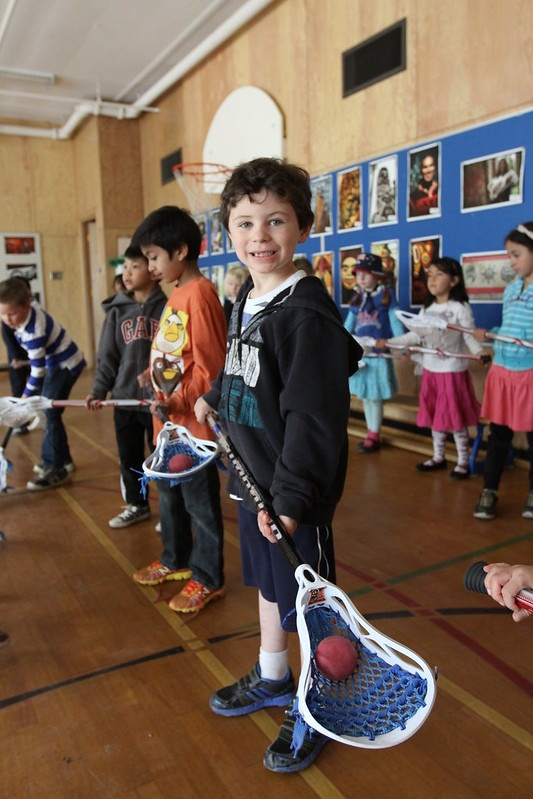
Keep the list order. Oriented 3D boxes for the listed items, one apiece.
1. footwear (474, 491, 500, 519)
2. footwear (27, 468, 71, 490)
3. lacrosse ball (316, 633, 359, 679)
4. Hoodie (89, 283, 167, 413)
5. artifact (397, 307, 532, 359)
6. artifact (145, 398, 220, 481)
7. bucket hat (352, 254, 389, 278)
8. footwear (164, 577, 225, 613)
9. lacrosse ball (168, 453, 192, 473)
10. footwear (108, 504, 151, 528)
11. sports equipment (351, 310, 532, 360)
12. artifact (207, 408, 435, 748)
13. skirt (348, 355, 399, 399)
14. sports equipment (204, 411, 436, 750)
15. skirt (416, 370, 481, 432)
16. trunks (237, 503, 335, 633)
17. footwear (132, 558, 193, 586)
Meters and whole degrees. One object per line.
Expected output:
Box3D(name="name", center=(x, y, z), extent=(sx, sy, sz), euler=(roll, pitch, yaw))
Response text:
Box3D(name="footwear", center=(0.993, 0.465, 2.768), extent=(0.090, 0.120, 0.178), euler=(1, 10, 24))
Box3D(name="footwear", center=(-1.251, 0.464, 3.550), extent=(0.272, 0.120, 0.093), euler=(-3, 9, -38))
Box3D(name="lacrosse ball", center=(0.110, 0.407, 0.958), extent=(0.066, 0.076, 0.065), euler=(-2, 9, 0))
Box3D(name="Hoodie", center=(-0.606, -0.225, 2.613), extent=(0.337, 0.508, 0.138), euler=(17, 15, 35))
Box3D(name="artifact", center=(1.033, -0.345, 3.190), extent=(0.993, 0.141, 0.133), euler=(20, -5, 45))
Box3D(name="artifact", center=(-0.261, 0.140, 1.769), extent=(0.174, 0.083, 0.229), euler=(-13, 27, -16))
Box3D(name="bucket hat", center=(0.657, -0.831, 3.869), extent=(0.178, 0.089, 0.135), euler=(17, -1, -25))
Box3D(name="footwear", center=(-0.240, 0.651, 2.056), extent=(0.170, 0.080, 0.076), euler=(-3, 6, -44))
Box3D(name="lacrosse ball", center=(-0.248, 0.188, 1.744), extent=(0.071, 0.052, 0.121), euler=(-4, 9, -9))
Box3D(name="footwear", center=(-0.641, 0.551, 2.888), extent=(0.232, 0.100, 0.076), euler=(-7, 13, -38))
Box3D(name="sports equipment", center=(0.962, -0.346, 3.270), extent=(1.200, 0.135, 0.351), euler=(11, 6, 31))
Box3D(name="artifact", center=(0.103, 0.323, 1.043), extent=(0.210, 0.326, 0.426), euler=(-4, 9, -11))
Box3D(name="skirt", center=(0.635, -0.128, 4.064), extent=(0.412, 0.391, 0.324), euler=(1, 5, 2))
Box3D(name="sports equipment", center=(0.051, 0.343, 1.077), extent=(0.176, 0.085, 0.529), euler=(12, 24, -37))
Box3D(name="skirt", center=(0.986, 0.003, 3.536), extent=(0.333, 0.416, 0.429), euler=(-4, 5, -24))
Box3D(name="trunks", center=(0.022, 0.379, 1.350), extent=(0.091, 0.326, 0.195), euler=(-20, 54, -16))
Box3D(name="footwear", center=(-0.386, 0.635, 2.264), extent=(0.208, 0.094, 0.081), euler=(2, 7, -12))
